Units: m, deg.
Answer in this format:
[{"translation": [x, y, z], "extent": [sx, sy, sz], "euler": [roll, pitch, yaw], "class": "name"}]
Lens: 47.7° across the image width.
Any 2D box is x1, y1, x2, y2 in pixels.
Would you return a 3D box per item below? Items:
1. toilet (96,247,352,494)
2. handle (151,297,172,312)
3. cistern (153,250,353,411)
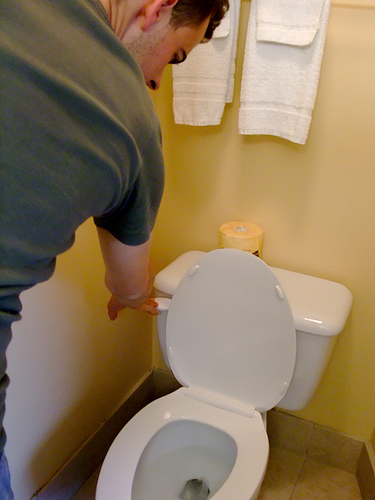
[{"translation": [0.121, 0.323, 1.121], "extent": [0.329, 0.515, 0.508], "euler": [23, 55, 19], "class": "toilet"}, {"translation": [-0.067, 0.148, 1.157], "extent": [0.040, 0.010, 0.042], "euler": [4, 19, 6], "class": "handle"}, {"translation": [0.188, 0.307, 1.373], "extent": [0.699, 0.508, 0.402], "euler": [16, 29, 15], "class": "cistern"}]
